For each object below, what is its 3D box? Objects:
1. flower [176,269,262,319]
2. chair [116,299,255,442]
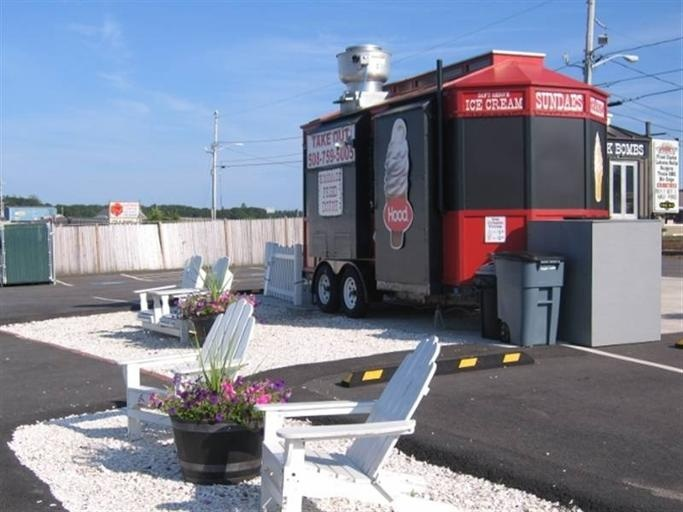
[{"bbox_3d":[-2.163,0.694,11.784,0.705,0.909,1.095,3,6,25],"label":"flower"},{"bbox_3d":[-1.620,1.149,7.795,1.553,1.880,1.172,0,2,-38],"label":"chair"}]
